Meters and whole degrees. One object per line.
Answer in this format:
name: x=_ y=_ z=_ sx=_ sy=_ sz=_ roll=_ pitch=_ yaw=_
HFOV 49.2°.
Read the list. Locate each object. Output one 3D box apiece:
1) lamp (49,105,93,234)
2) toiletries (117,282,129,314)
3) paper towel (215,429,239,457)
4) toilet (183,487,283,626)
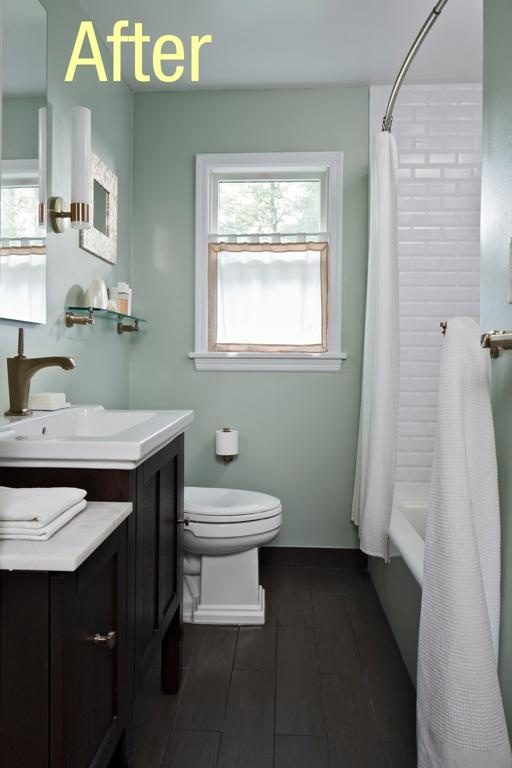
lamp: x=-0.562 y=-0.654 z=1.692 sx=0.126 sy=0.396 sz=0.239 roll=-1 pitch=2 yaw=-20
toiletries: x=-0.555 y=-0.356 z=2.312 sx=0.033 sy=0.132 sz=0.120 roll=0 pitch=2 yaw=7
paper towel: x=-0.133 y=0.273 z=2.624 sx=0.088 sy=0.152 sz=0.105 roll=0 pitch=1 yaw=22
toilet: x=-0.077 y=0.638 z=2.191 sx=0.354 sy=0.504 sz=0.373 roll=0 pitch=-1 yaw=2
